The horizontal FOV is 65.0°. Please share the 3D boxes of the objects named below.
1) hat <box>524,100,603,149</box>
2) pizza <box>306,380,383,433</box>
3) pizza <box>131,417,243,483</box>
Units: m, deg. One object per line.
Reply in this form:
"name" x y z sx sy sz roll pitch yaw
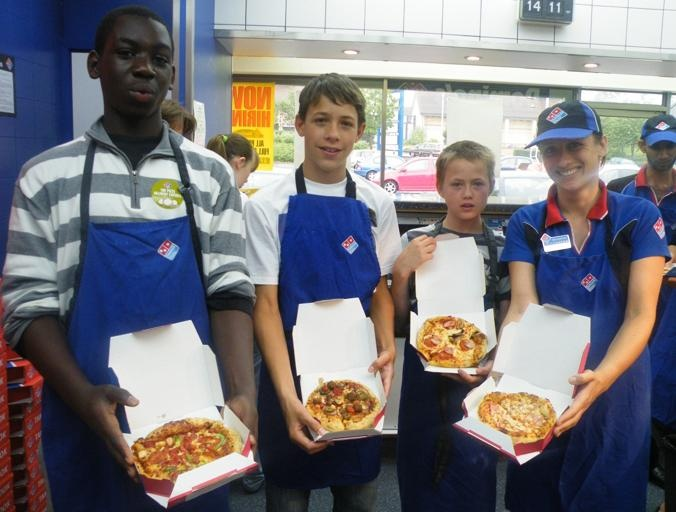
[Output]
"hat" 0.800 -0.471 1.883 0.202 0.104 0.146 -15 4 -36
"pizza" 0.023 0.459 1.620 0.138 0.039 0.145 5 19 12
"pizza" -0.385 0.483 1.365 0.262 0.066 0.168 -10 14 -29
